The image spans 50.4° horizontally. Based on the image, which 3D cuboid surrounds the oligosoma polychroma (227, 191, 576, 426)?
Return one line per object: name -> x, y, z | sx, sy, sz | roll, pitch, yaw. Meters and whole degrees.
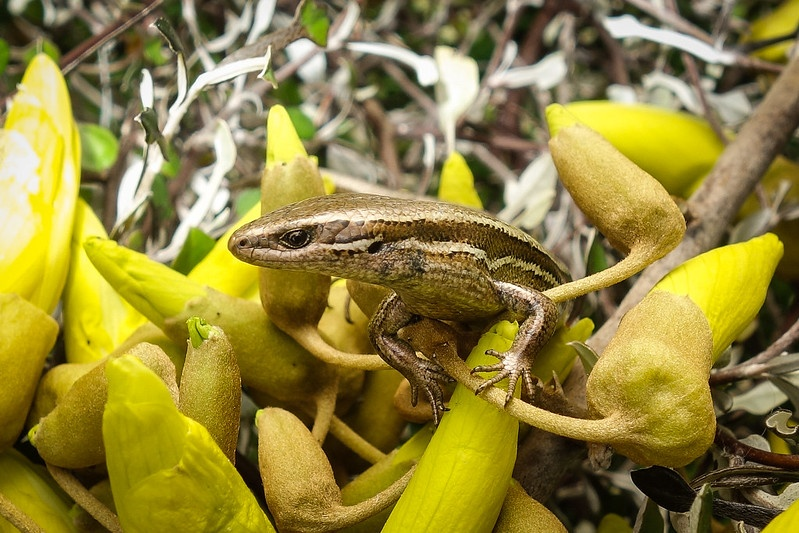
oligosoma polychroma -> 0.004, 0.006, 0.933 | 0.330, 0.124, 0.244 | -10, 30, -23
